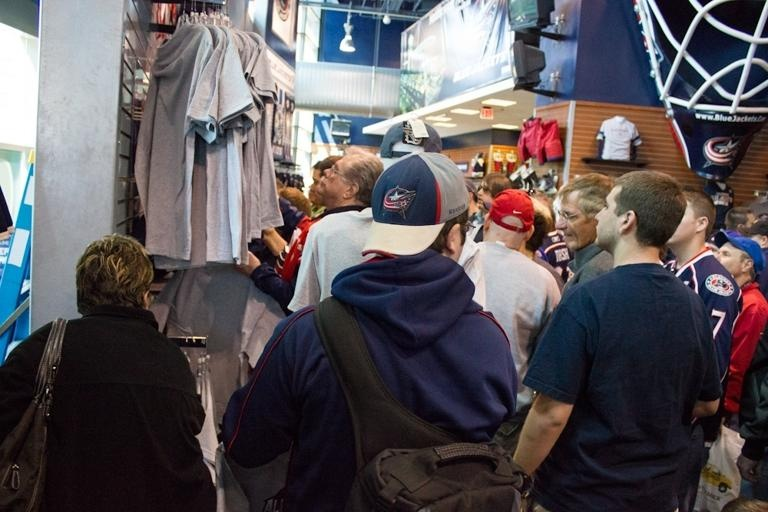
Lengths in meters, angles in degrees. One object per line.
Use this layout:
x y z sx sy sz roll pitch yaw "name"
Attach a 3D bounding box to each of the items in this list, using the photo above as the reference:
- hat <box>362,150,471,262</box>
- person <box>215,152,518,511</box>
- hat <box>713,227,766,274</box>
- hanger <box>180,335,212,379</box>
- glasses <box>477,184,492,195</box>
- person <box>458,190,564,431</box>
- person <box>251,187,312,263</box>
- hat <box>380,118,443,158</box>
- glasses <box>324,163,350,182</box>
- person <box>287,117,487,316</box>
0.091 -0.231 2.257 0.369 0.303 0.595 13 32 32 "hat"
-0.020 0.315 2.122 1.081 1.420 0.384 0 5 -17 "person"
2.415 -0.097 3.914 0.361 0.194 0.225 38 11 5 "hat"
-0.993 0.536 3.055 0.149 0.241 0.201 0 1 -10 "hanger"
0.859 -0.585 4.987 0.106 0.081 0.179 1 4 31 "glasses"
0.926 0.198 3.640 0.549 0.521 1.552 2 -28 21 "person"
-0.705 -0.257 4.421 0.360 0.356 1.312 -27 -10 -11 "person"
0.179 -0.742 3.695 0.398 0.227 0.261 -10 11 -33 "hat"
-0.258 -0.475 3.249 0.125 0.066 0.092 14 -13 -31 "glasses"
0.034 -0.308 3.411 0.783 0.740 1.320 2 7 43 "person"
